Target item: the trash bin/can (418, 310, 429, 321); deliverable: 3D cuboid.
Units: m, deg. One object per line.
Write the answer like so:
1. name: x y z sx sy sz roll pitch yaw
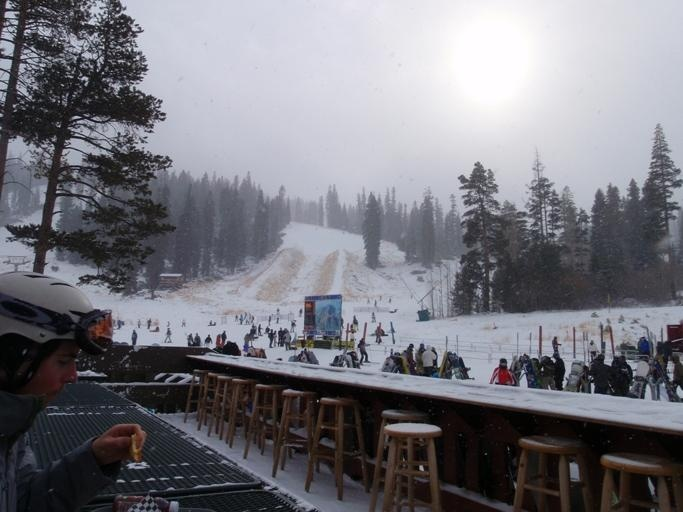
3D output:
1. trash bin/can: 8.281 5.975 59.899 1.045 1.170 0.837 -2 -22 5
